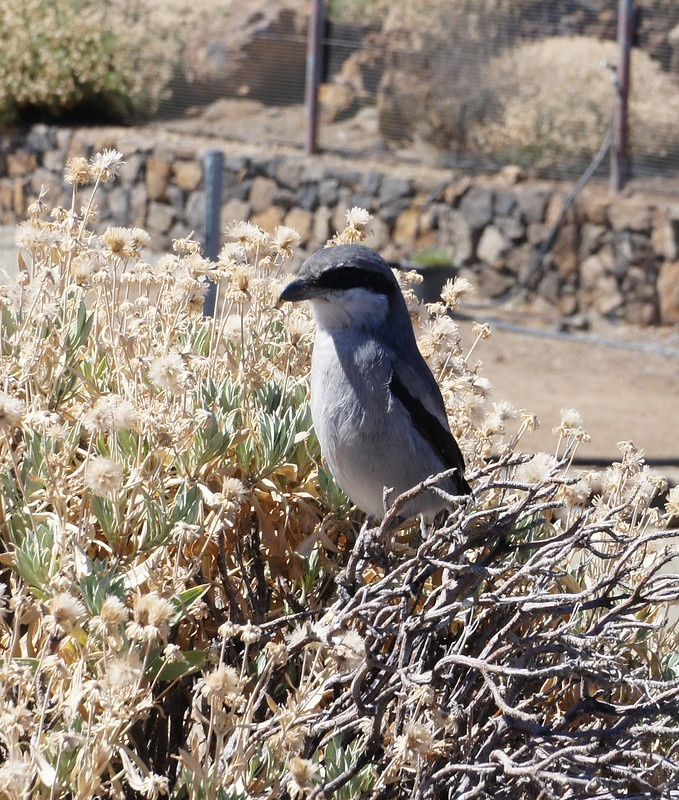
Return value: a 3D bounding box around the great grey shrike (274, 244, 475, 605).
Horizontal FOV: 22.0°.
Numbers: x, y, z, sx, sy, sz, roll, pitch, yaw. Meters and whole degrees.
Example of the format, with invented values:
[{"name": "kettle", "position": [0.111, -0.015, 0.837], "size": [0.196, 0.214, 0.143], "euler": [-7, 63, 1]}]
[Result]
[{"name": "great grey shrike", "position": [0.130, -0.070, 4.843], "size": [0.367, 0.970, 0.728], "euler": [15, 26, 42]}]
